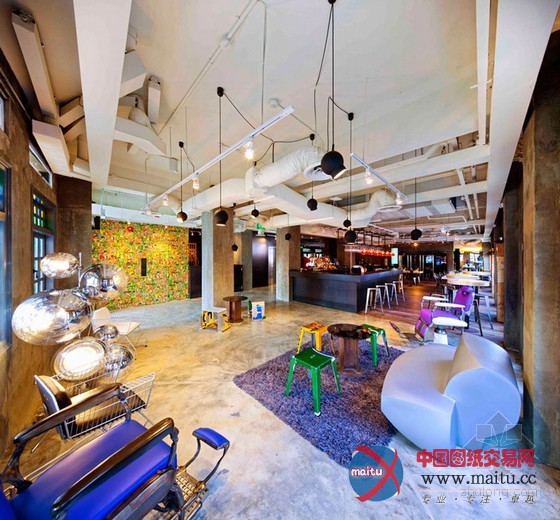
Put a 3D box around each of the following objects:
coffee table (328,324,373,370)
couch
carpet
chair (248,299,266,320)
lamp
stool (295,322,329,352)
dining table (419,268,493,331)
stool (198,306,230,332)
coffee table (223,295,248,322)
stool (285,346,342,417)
[{"bbox_3d":[0.942,1.179,5.400,0.525,0.482,0.544,3,9,41],"label":"coffee table"},{"bbox_3d":[1.868,1.390,4.158,1.362,1.119,1.201,-17,24,-42],"label":"couch"},{"bbox_3d":[0.701,1.629,5.039,2.373,0.067,2.581,-3,18,-31],"label":"carpet"},{"bbox_3d":[-0.492,1.116,8.737,0.279,0.443,0.402,-1,1,-11],"label":"chair"},{"bbox_3d":[-0.152,-1.715,4.837,2.103,1.766,2.238,1,2,40],"label":"lamp"},{"bbox_3d":[0.507,1.140,5.911,0.423,0.521,0.463,-1,-7,30],"label":"stool"},{"bbox_3d":[4.024,0.855,8.521,0.815,1.632,0.923,-1,-3,11],"label":"dining table"},{"bbox_3d":[-1.287,1.188,7.738,0.447,0.434,0.470,0,-1,37],"label":"stool"},{"bbox_3d":[-0.965,1.010,8.205,0.463,0.580,0.524,0,1,16],"label":"coffee table"},{"bbox_3d":[0.428,1.438,4.711,0.516,0.575,0.518,11,17,41],"label":"stool"}]
